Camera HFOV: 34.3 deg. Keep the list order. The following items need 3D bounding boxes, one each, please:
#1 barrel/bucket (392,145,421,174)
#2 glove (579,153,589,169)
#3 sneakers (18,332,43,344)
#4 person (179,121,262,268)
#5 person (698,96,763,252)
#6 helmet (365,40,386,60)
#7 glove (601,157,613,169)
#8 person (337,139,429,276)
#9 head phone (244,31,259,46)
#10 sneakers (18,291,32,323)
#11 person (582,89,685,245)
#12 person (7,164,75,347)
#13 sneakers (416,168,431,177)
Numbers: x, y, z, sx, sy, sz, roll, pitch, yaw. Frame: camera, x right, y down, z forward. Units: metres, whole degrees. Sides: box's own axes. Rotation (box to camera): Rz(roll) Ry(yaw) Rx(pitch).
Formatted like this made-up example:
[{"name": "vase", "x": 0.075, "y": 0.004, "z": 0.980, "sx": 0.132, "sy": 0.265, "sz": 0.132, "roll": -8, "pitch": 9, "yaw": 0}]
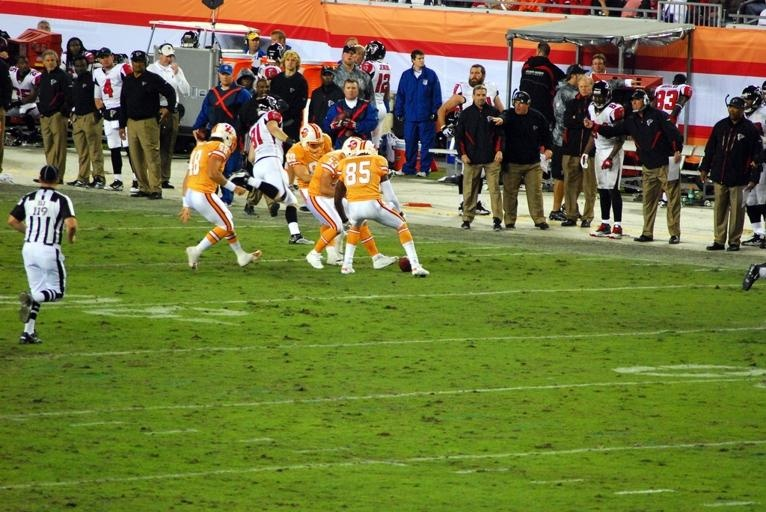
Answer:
[{"name": "barrel/bucket", "x": 0.542, "y": -2.133, "z": 27.358, "sx": 0.510, "sy": 0.380, "sz": 0.670, "roll": -11, "pitch": 20, "yaw": -27}, {"name": "glove", "x": 3.355, "y": -1.565, "z": 20.469, "sx": 0.182, "sy": 0.188, "sz": 0.092, "roll": 10, "pitch": 2, "yaw": 45}, {"name": "sneakers", "x": -3.791, "y": 0.875, "z": 13.252, "sx": 0.236, "sy": 0.137, "sz": 0.198, "roll": -1, "pitch": 5, "yaw": -30}, {"name": "person", "x": -2.265, "y": -0.826, "z": 16.908, "sx": 0.969, "sy": 2.010, "sz": 1.360, "roll": 2, "pitch": 4, "yaw": -7}, {"name": "person", "x": 5.387, "y": -1.231, "z": 18.822, "sx": 0.504, "sy": 2.332, "sz": 1.023, "roll": -1, "pitch": 5, "yaw": -34}, {"name": "helmet", "x": -0.122, "y": -4.359, "z": 26.261, "sx": 0.552, "sy": 0.389, "sz": 0.390, "roll": 3, "pitch": 7, "yaw": 5}, {"name": "glove", "x": 3.606, "y": -1.476, "z": 19.761, "sx": 0.150, "sy": 0.180, "sz": 0.066, "roll": 24, "pitch": -23, "yaw": 37}, {"name": "person", "x": -0.075, "y": -0.643, "z": 16.765, "sx": 1.122, "sy": 1.824, "sz": 0.514, "roll": 2, "pitch": 5, "yaw": -3}, {"name": "head phone", "x": -2.757, "y": -4.704, "z": 26.595, "sx": 0.315, "sy": 0.299, "sz": 0.374, "roll": -7, "pitch": 6, "yaw": -27}, {"name": "sneakers", "x": -3.795, "y": 0.543, "z": 13.058, "sx": 0.164, "sy": 0.287, "sz": 0.159, "roll": 5, "pitch": -6, "yaw": 3}, {"name": "person", "x": 4.247, "y": -1.409, "z": 19.471, "sx": 1.355, "sy": 2.408, "sz": 0.506, "roll": 6, "pitch": 6, "yaw": 45}, {"name": "person", "x": -3.693, "y": -0.022, "z": 13.343, "sx": 0.706, "sy": 1.908, "sz": 0.761, "roll": 1, "pitch": 5, "yaw": -15}, {"name": "sneakers", "x": 0.941, "y": -1.824, "z": 27.380, "sx": 0.368, "sy": 0.113, "sz": 0.115, "roll": 2, "pitch": 10, "yaw": -14}]
